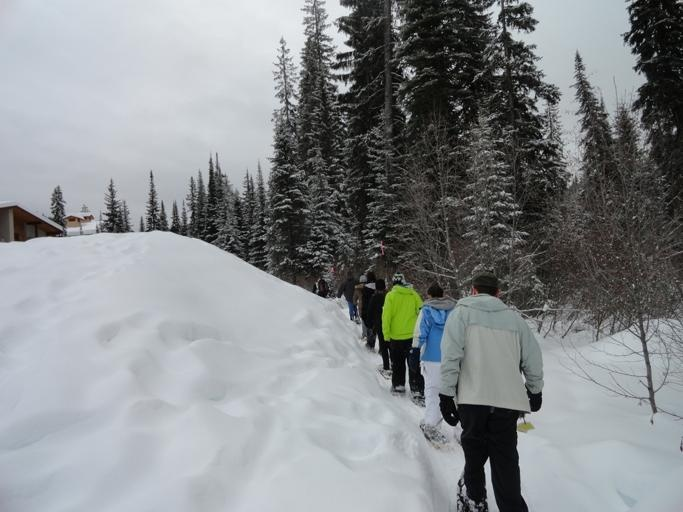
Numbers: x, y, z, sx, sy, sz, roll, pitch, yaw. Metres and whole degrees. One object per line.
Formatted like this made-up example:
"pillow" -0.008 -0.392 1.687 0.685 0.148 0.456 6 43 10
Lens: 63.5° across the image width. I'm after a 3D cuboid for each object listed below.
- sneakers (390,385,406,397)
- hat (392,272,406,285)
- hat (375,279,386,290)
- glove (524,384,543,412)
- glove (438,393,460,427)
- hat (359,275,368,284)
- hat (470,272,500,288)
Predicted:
"sneakers" 1.166 2.827 11.591 0.223 0.281 0.181 -9 -8 23
"hat" 1.218 0.493 11.790 0.207 0.459 0.310 3 -6 -5
"hat" 0.879 0.654 12.472 0.163 0.270 0.226 -2 9 5
"glove" 3.012 2.207 8.704 0.250 0.581 0.388 -7 -12 18
"glove" 1.666 2.374 8.553 0.309 0.500 0.177 21 4 14
"hat" 0.632 0.653 15.851 0.171 0.205 0.190 -5 -9 25
"hat" 2.543 0.415 9.809 0.515 0.350 0.783 2 -3 14
